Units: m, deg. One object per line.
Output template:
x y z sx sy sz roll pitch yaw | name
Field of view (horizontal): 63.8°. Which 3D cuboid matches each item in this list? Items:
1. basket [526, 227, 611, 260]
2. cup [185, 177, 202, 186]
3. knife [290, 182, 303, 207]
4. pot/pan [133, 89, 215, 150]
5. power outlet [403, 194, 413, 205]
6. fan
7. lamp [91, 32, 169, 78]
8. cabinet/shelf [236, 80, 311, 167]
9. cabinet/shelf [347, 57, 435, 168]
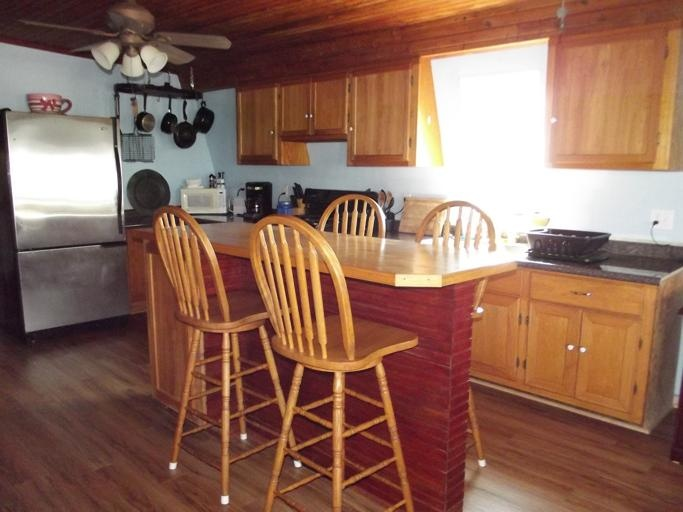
1.491 -0.079 3.623 0.477 0.170 0.260 7 13 29 | basket
-1.590 -0.833 5.928 0.151 0.103 0.149 -2 11 0 | cup
-0.428 -0.606 5.415 0.121 0.234 0.227 -1 12 -5 | knife
-1.699 -1.436 5.750 0.846 0.616 0.675 -6 14 -29 | pot/pan
0.574 -0.486 4.695 0.100 0.095 0.055 4 8 22 | power outlet
-1.587 -1.620 3.934 0.934 0.232 0.963 -1 0 3 | fan
-1.217 -1.202 3.308 0.337 0.131 0.338 15 21 26 | lamp
-0.615 -1.270 5.168 0.707 0.681 0.408 9 18 34 | cabinet/shelf
0.424 -1.154 4.718 0.746 1.093 0.766 5 9 38 | cabinet/shelf
